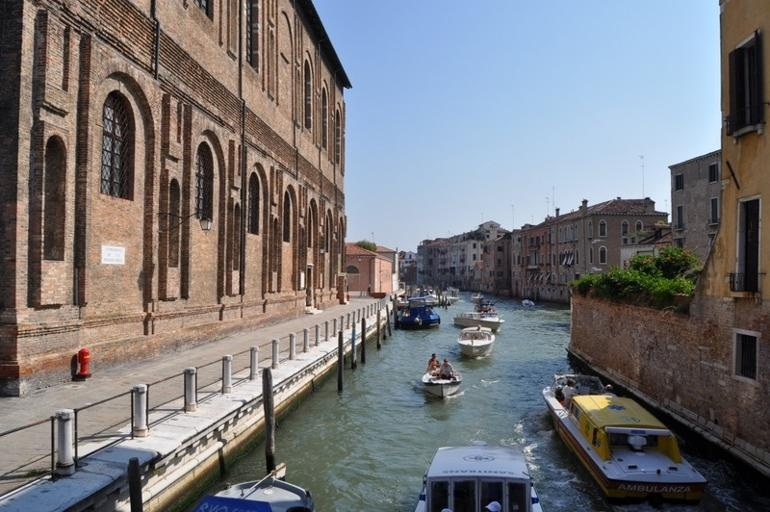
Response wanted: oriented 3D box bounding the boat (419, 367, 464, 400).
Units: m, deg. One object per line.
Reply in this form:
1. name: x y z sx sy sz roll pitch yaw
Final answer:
1. boat: 2.534 5.728 26.808 1.617 1.020 1.410 -3 -2 12

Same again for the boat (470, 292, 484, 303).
1. boat: 14.544 6.520 94.847 1.539 1.370 4.470 5 7 13

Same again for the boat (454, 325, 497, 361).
1. boat: 5.582 5.271 36.763 2.019 1.133 2.832 -3 -2 6

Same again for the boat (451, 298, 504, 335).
1. boat: 8.232 5.298 50.762 2.028 2.745 6.356 0 -5 -18

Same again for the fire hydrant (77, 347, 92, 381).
1. fire hydrant: -9.902 3.543 20.097 0.345 0.983 0.853 -2 -2 -4
